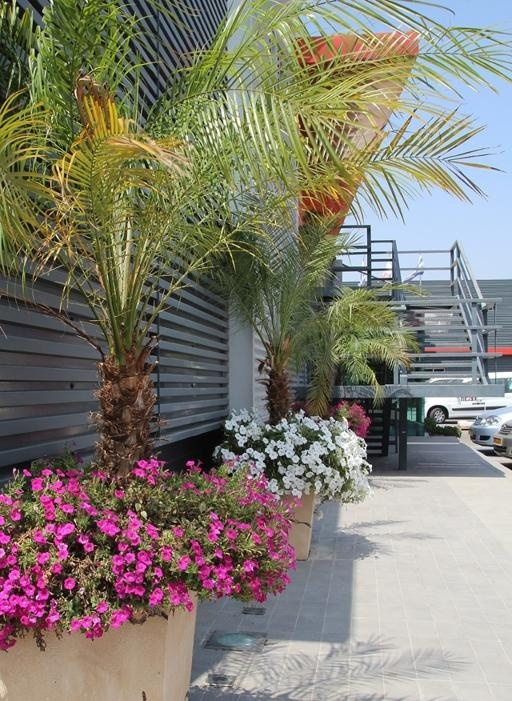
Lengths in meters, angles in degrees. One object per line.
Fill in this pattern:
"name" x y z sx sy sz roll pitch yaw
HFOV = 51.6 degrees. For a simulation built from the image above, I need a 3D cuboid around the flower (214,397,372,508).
"flower" 0.433 1.059 5.312 1.326 0.722 1.203 11 4 31
